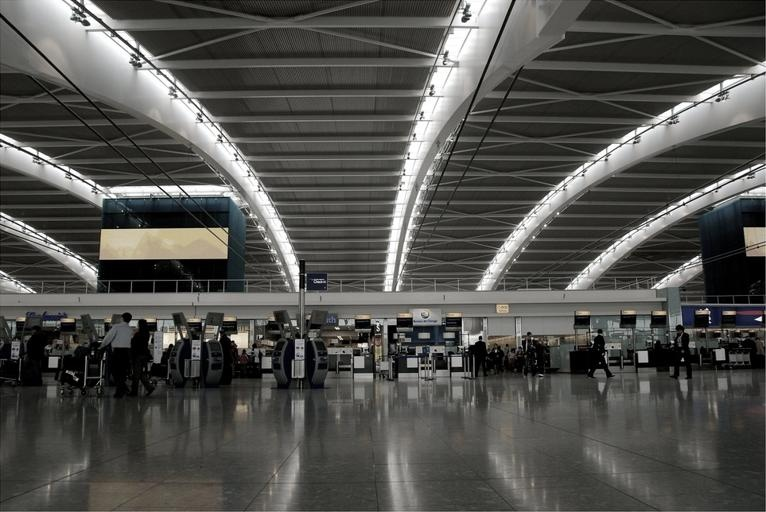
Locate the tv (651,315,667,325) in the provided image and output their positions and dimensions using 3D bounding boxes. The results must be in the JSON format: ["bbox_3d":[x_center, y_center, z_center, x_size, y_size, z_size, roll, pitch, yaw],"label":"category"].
[{"bbox_3d":[15.078,3.474,33.645,0.636,0.519,0.302,1,-17,1],"label":"tv"}]

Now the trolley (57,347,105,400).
[{"bbox_3d":[-8.612,3.333,17.583,1.289,0.978,0.775,-5,-11,19],"label":"trolley"}]

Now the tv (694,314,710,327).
[{"bbox_3d":[17.540,3.575,34.010,0.955,0.794,0.644,2,-2,4],"label":"tv"}]

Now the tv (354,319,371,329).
[{"bbox_3d":[-1.028,3.533,32.160,0.934,0.433,0.571,-2,-10,-3],"label":"tv"}]

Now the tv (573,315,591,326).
[{"bbox_3d":[10.291,3.298,31.824,0.993,0.573,0.496,-1,0,3],"label":"tv"}]

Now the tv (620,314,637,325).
[{"bbox_3d":[12.990,3.356,32.575,0.740,0.593,0.367,1,8,3],"label":"tv"}]

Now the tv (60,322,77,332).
[{"bbox_3d":[-15.485,3.472,30.510,0.870,0.655,0.435,2,22,-20],"label":"tv"}]
